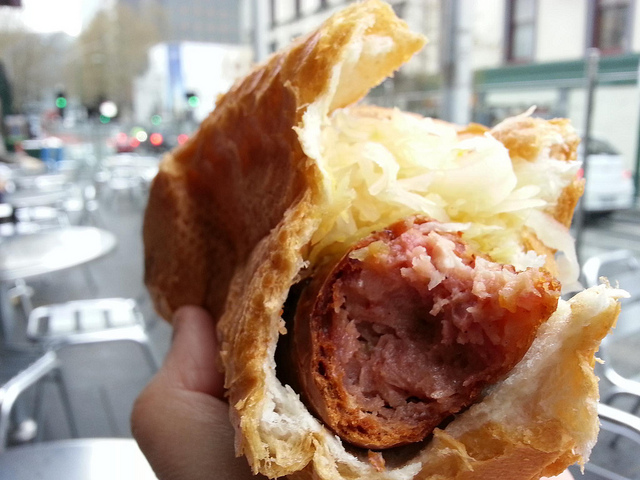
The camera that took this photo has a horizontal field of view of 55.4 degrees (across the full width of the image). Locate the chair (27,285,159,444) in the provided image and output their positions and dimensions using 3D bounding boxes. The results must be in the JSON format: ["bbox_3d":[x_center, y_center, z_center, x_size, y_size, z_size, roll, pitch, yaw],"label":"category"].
[{"bbox_3d":[-0.807,0.458,2.149,0.411,0.521,0.326,5,45,-24],"label":"chair"}]

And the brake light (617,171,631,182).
[{"bbox_3d":[2.046,-0.424,4.103,0.073,0.073,0.020,-37,12,-21],"label":"brake light"}]

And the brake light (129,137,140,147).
[{"bbox_3d":[-1.785,-0.943,5.857,0.094,0.086,0.089,-4,14,-16],"label":"brake light"}]

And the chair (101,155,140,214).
[{"bbox_3d":[-1.776,-0.506,5.374,0.319,0.457,0.531,-5,14,-20],"label":"chair"}]

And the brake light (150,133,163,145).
[{"bbox_3d":[-1.511,-0.949,5.636,0.111,0.114,0.062,-11,-15,21],"label":"brake light"}]
